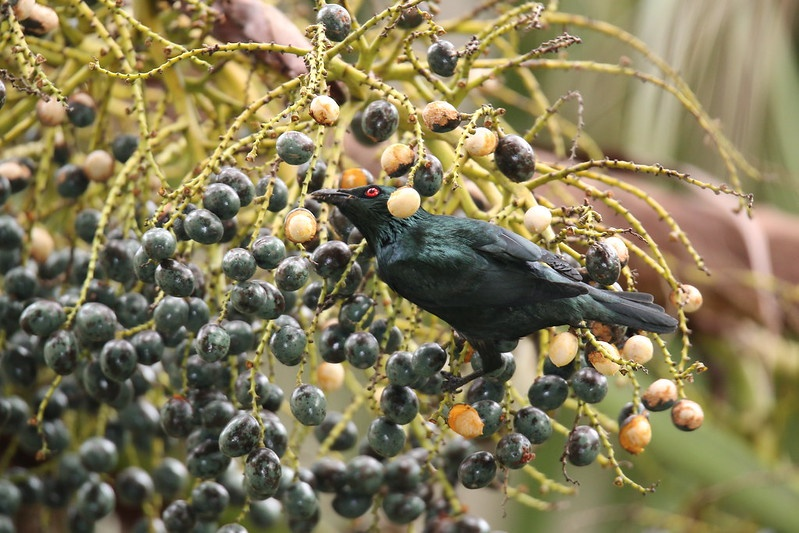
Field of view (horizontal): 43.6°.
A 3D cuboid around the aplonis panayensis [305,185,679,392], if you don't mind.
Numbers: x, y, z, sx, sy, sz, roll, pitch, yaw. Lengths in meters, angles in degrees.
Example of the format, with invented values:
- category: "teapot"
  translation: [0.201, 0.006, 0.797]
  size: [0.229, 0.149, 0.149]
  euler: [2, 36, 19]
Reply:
- category: "aplonis panayensis"
  translation: [0.150, 0.017, 1.630]
  size: [0.530, 0.330, 0.190]
  euler: [-6, 11, 21]
